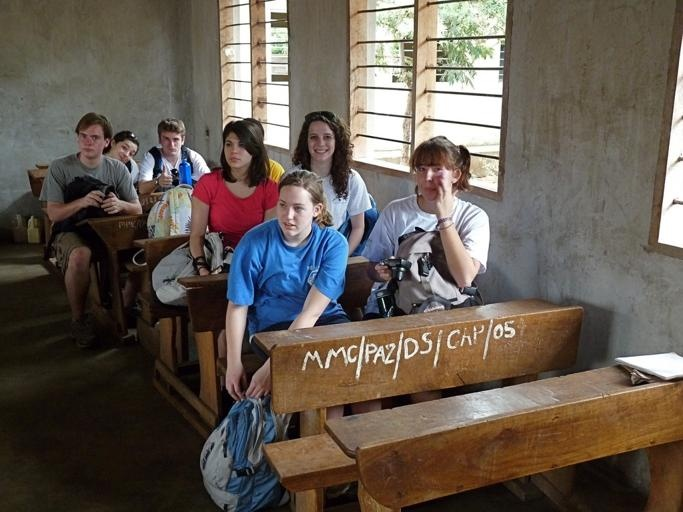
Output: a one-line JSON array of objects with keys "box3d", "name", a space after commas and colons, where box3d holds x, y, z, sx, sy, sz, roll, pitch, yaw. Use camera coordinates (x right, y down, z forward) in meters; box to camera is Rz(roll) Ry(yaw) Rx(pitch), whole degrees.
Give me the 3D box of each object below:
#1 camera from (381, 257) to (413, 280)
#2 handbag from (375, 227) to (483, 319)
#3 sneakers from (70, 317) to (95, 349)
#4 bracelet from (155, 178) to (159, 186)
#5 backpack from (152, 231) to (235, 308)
[{"box3d": [0.351, 0.079, 3.344, 0.151, 0.118, 0.124, 0, 1, 7], "name": "camera"}, {"box3d": [0.509, 0.181, 3.498, 0.482, 0.595, 0.568, -22, -34, 34], "name": "handbag"}, {"box3d": [-2.275, 0.668, 4.822, 0.150, 0.176, 0.334, -11, 18, -39], "name": "sneakers"}, {"box3d": [-1.944, -0.797, 5.772, 0.020, 0.084, 0.081, -2, 2, -32], "name": "bracelet"}, {"box3d": [-1.149, 0.099, 4.025, 0.628, 0.497, 0.229, -27, 7, -23], "name": "backpack"}]
